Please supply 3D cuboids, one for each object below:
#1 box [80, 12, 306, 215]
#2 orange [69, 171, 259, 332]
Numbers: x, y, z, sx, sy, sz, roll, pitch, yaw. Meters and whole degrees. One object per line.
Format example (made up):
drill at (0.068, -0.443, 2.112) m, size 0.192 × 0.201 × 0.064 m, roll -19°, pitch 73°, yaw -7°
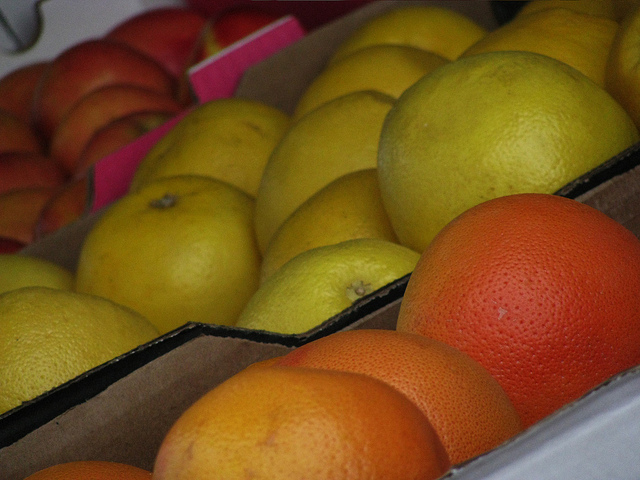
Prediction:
box at (-0.261, -0.253, 1.382) m, size 0.466 × 0.262 × 0.252 m, roll -40°, pitch 91°, yaw -6°
orange at (-0.216, -0.002, 1.080) m, size 0.245 × 0.240 × 0.252 m, roll 33°, pitch 15°, yaw 8°
